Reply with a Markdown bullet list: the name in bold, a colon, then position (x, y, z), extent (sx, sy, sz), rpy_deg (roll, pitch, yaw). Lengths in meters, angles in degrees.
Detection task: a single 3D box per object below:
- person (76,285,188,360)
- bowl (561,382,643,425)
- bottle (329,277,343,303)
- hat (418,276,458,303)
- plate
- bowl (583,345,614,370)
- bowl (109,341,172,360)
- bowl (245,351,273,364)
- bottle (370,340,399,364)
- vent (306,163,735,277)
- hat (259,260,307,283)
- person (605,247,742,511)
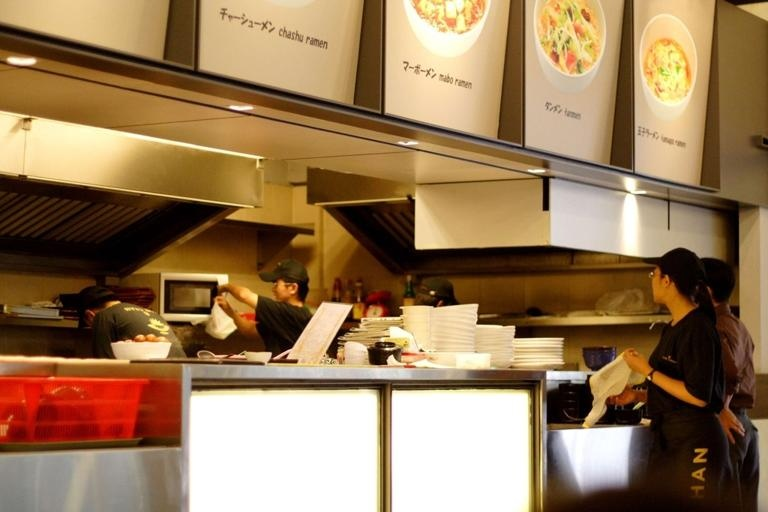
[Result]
- **person**: position (-1.656, 0.428, 4.821), extent (0.488, 0.423, 1.338), rpy_deg (10, -10, -33)
- **bowl**: position (1.192, 0.822, 4.383), extent (0.271, 0.131, 0.372), rpy_deg (0, -3, 33)
- **bottle**: position (-0.434, 0.311, 7.165), extent (0.104, 0.246, 0.287), rpy_deg (6, -9, -5)
- **hat**: position (0.363, 0.248, 5.306), extent (0.229, 0.123, 0.170), rpy_deg (13, 8, 25)
- **plate**: position (0.536, 0.465, 4.261), extent (0.621, 0.214, 0.480), rpy_deg (5, -6, -41)
- **bowl**: position (1.315, 0.635, 4.767), extent (0.153, 0.112, 0.159), rpy_deg (2, -11, 0)
- **bowl**: position (-1.030, 0.404, 3.246), extent (0.143, 0.049, 0.137), rpy_deg (1, -6, 0)
- **bowl**: position (-0.539, 0.430, 3.275), extent (0.100, 0.048, 0.239), rpy_deg (6, -8, -9)
- **bottle**: position (0.003, 0.451, 3.600), extent (0.107, 0.076, 0.108), rpy_deg (2, -1, 0)
- **vent**: position (0.758, -0.283, 5.455), extent (3.049, 0.770, 1.800), rpy_deg (1, -9, 27)
- **hat**: position (-0.676, 0.119, 5.128), extent (0.275, 0.131, 0.172), rpy_deg (1, -5, -2)
- **person**: position (1.504, 0.597, 3.887), extent (0.488, 1.262, 0.353), rpy_deg (0, -10, 30)
